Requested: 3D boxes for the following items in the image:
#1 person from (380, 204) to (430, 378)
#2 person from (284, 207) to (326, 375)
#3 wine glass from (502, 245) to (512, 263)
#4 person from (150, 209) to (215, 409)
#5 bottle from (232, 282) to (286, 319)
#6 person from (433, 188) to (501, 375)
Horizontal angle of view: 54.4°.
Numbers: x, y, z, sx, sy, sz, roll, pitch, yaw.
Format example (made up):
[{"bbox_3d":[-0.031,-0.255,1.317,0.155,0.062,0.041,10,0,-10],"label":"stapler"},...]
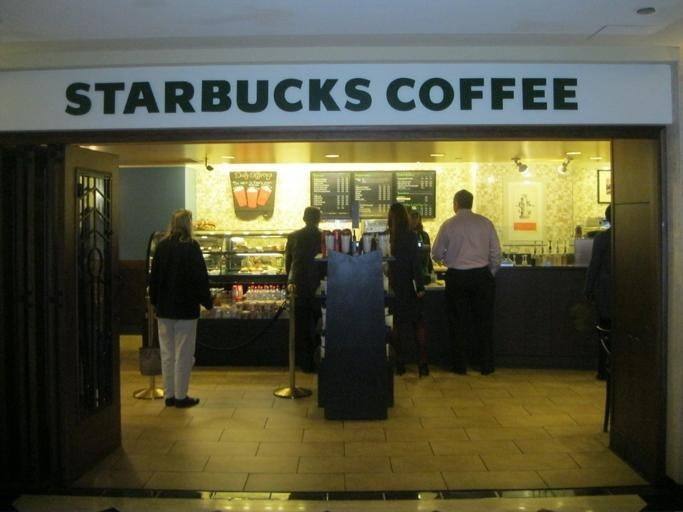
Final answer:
[{"bbox_3d":[0.711,0.367,6.953,0.454,1.837,0.708,1,9,4],"label":"person"},{"bbox_3d":[-0.408,0.366,7.171,0.384,1.754,0.370,-1,9,-4],"label":"person"},{"bbox_3d":[2.300,-0.026,9.178,0.149,0.265,0.149,0,-6,1],"label":"wine glass"},{"bbox_3d":[-1.503,0.498,6.101,0.443,1.759,0.511,-7,12,-39],"label":"person"},{"bbox_3d":[-0.938,0.512,7.446,0.645,0.329,0.419,1,44,-4],"label":"bottle"},{"bbox_3d":[1.323,0.277,7.055,0.699,1.907,0.356,1,9,6],"label":"person"}]
